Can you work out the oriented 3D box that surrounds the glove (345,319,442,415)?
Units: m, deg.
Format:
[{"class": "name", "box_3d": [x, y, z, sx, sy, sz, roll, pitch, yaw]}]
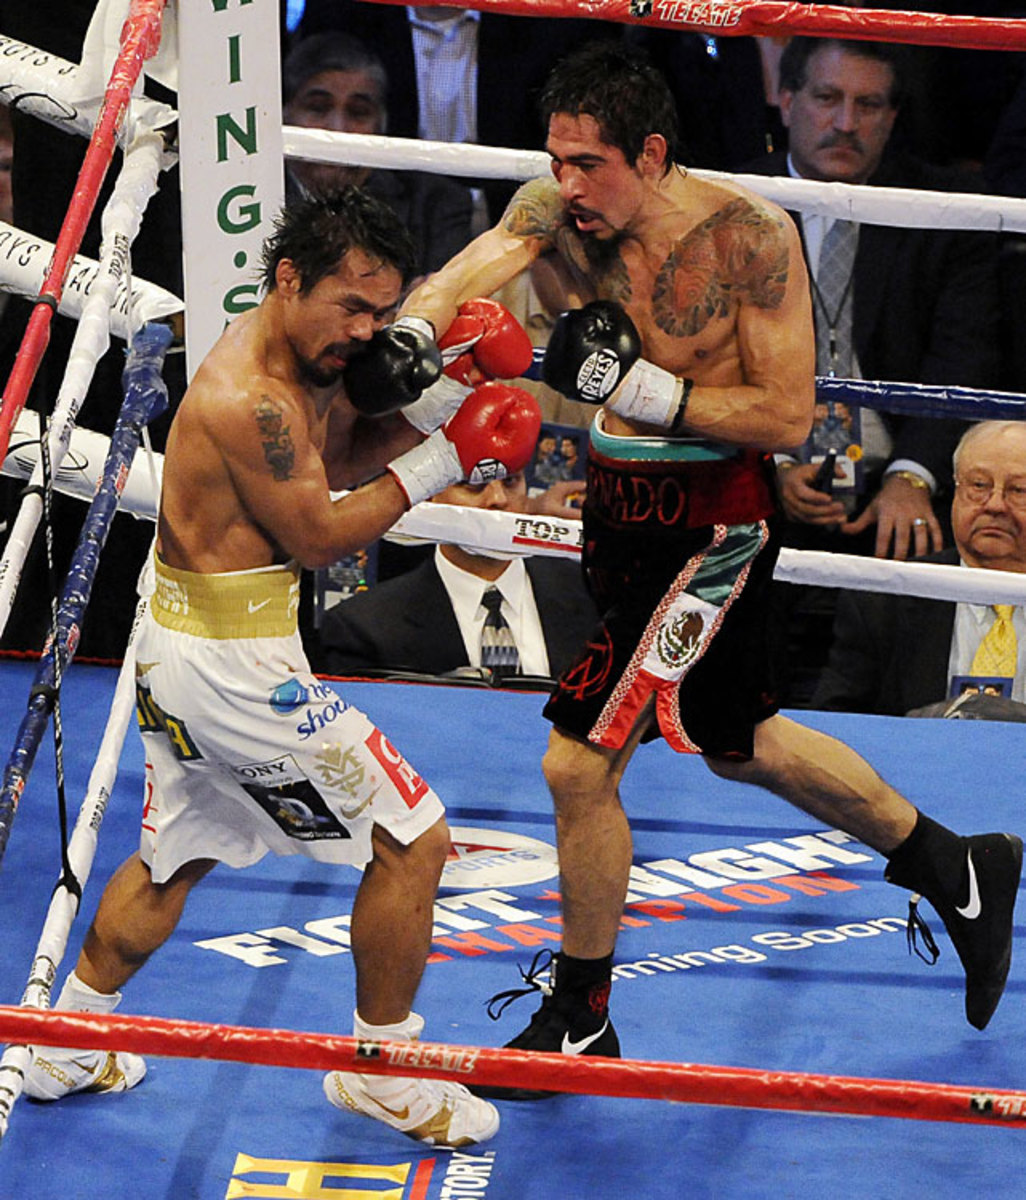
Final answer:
[{"class": "glove", "box_3d": [-0.171, -0.325, 1.840, 0.114, 0.124, 0.120, 14, 14, 33]}]

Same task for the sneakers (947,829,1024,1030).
[{"class": "sneakers", "box_3d": [0.850, 0.572, 2.314, 0.187, 0.338, 0.118, 3, -8, -8]}]

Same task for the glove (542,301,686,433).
[{"class": "glove", "box_3d": [0.153, -0.357, 2.002, 0.243, 0.149, 0.110, 24, -34, -14]}]

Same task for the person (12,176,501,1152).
[{"class": "person", "box_3d": [-0.305, 0.110, 1.963, 0.702, 1.399, 0.467, 7, 12, 0]}]
